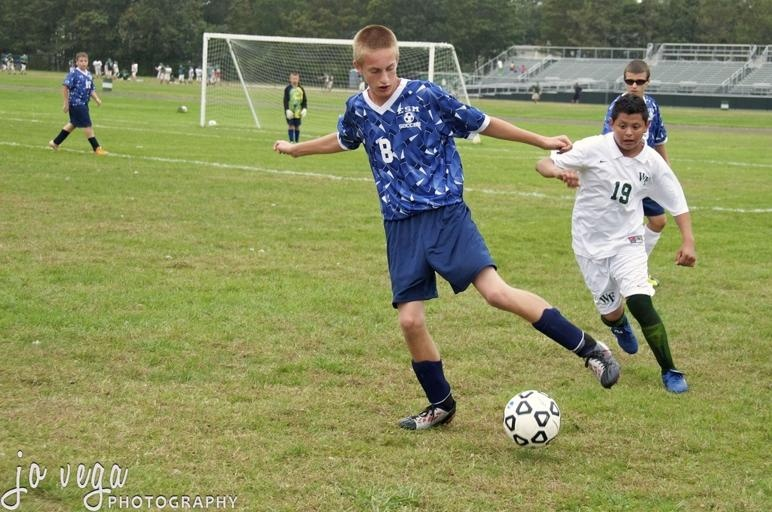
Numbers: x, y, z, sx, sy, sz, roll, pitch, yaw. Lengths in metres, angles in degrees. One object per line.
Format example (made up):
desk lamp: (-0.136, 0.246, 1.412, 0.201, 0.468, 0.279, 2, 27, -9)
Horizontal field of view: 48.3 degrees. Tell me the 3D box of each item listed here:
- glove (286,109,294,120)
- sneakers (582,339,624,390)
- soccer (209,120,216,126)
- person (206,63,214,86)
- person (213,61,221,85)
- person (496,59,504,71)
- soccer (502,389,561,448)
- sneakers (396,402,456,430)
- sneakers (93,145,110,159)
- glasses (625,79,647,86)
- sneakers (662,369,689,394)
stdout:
glove: (-2.443, -3.578, 21.582, 0.180, 0.195, 0.205, 24, 37, 36)
sneakers: (1.978, 1.010, 7.916, 0.253, 0.469, 0.167, -21, -17, -36)
soccer: (-5.359, -4.139, 26.585, 0.258, 0.156, 0.292, -1, 7, -3)
person: (-6.070, -6.273, 29.835, 0.208, 0.702, 0.755, 0, 14, -10)
person: (-5.852, -6.408, 30.002, 0.224, 0.680, 0.592, 1, 14, -10)
person: (8.094, -13.664, 61.361, 0.616, 0.908, 0.221, 0, -18, 8)
soccer: (1.214, 1.397, 7.404, 0.487, 0.465, 0.420, 0, -20, 3)
sneakers: (0.355, 1.418, 7.590, 0.544, 0.206, 0.199, -3, 4, -15)
sneakers: (-5.980, -2.197, 18.010, 0.217, 0.157, 0.384, -11, 18, -33)
glasses: (2.690, -1.889, 9.302, 0.227, 0.079, 0.136, 6, 14, 11)
sneakers: (2.708, 1.161, 8.057, 0.215, 0.182, 0.209, 4, 14, 3)
